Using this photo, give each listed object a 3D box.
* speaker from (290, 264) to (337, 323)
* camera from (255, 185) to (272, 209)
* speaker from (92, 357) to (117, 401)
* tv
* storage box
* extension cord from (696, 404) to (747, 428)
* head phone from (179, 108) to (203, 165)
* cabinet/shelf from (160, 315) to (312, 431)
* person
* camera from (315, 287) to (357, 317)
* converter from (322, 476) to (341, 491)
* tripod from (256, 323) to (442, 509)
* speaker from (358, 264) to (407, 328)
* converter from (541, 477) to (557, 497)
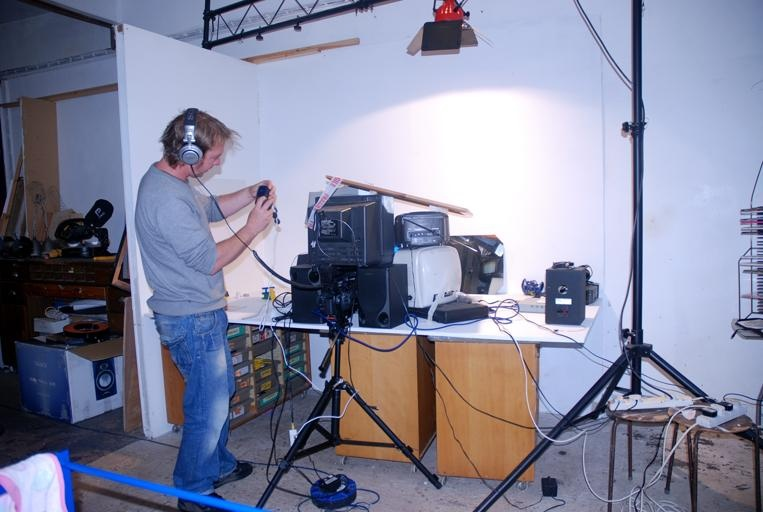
[{"bbox_3d":[-0.543,0.263,5.159,0.383,0.569,0.409,0,4,9],"label":"speaker"},{"bbox_3d":[-0.825,-0.428,4.820,0.135,0.135,0.104,10,-10,-21],"label":"camera"},{"bbox_3d":[-2.503,1.133,6.148,0.236,0.405,0.195,-6,-13,-9],"label":"speaker"},{"bbox_3d":[-0.299,-0.182,5.080,0.610,0.551,0.578,-2,-2,19],"label":"tv"},{"bbox_3d":[-2.803,0.982,6.168,0.805,0.645,0.821,3,5,26],"label":"storage box"},{"bbox_3d":[2.293,1.079,4.565,0.371,0.125,0.106,-2,5,-25],"label":"extension cord"},{"bbox_3d":[-1.297,-0.803,4.558,0.126,0.329,0.329,-1,10,-8],"label":"head phone"},{"bbox_3d":[-1.192,0.926,5.285,0.407,0.897,1.011,-2,2,28],"label":"cabinet/shelf"},{"bbox_3d":[-1.291,0.372,4.821,0.859,2.760,0.479,-2,4,-21],"label":"person"},{"bbox_3d":[-0.345,0.317,4.892,0.233,0.178,0.241,-2,4,13],"label":"camera"},{"bbox_3d":[-0.368,1.664,4.905,0.115,0.113,0.066,-1,4,-25],"label":"converter"},{"bbox_3d":[-0.305,1.018,5.210,1.076,1.271,1.428,-1,9,-8],"label":"tripod"},{"bbox_3d":[-0.003,0.293,5.042,0.327,0.447,0.344,1,6,40],"label":"speaker"},{"bbox_3d":[1.220,1.683,4.907,0.101,0.140,0.140,0,3,12],"label":"converter"}]
